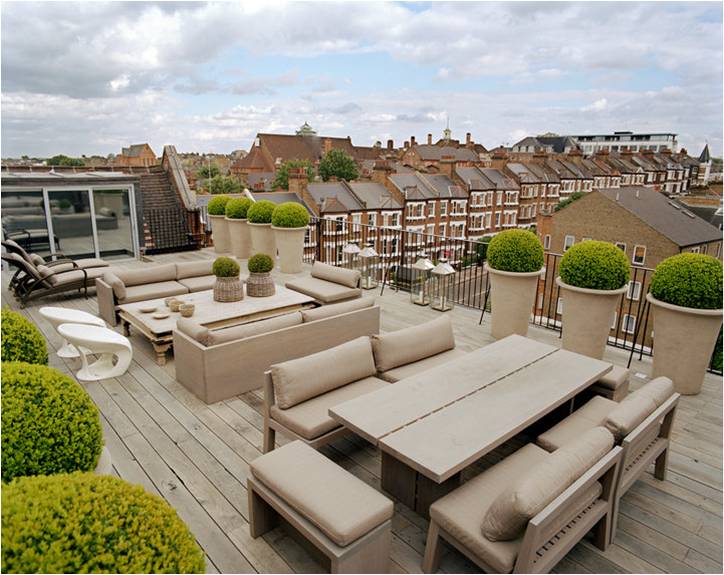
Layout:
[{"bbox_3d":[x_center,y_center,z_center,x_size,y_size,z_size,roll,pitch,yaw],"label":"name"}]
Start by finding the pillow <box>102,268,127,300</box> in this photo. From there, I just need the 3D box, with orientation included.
[{"bbox_3d":[-4.301,-0.048,8.039,0.149,0.247,0.501,-13,32,-38],"label":"pillow"}]

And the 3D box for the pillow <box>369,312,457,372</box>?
[{"bbox_3d":[0.631,0.669,5.561,1.293,0.412,0.248,-10,-3,-38],"label":"pillow"}]

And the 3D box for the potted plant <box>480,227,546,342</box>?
[{"bbox_3d":[2.391,-0.031,7.325,0.846,1.778,0.565,3,15,20],"label":"potted plant"}]

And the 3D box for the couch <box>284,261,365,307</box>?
[{"bbox_3d":[-0.741,-0.074,8.715,0.970,0.651,1.407,-12,19,-37],"label":"couch"}]

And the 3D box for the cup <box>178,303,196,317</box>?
[{"bbox_3d":[-2.628,0.327,6.937,0.205,0.142,0.209,1,13,0],"label":"cup"}]

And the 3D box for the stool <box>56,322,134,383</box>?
[{"bbox_3d":[-3.542,0.843,6.267,0.854,0.670,0.752,8,7,-36],"label":"stool"}]

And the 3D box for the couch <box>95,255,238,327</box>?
[{"bbox_3d":[-3.492,-0.048,8.828,2.545,0.834,0.796,-13,23,-43],"label":"couch"}]

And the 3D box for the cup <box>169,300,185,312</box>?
[{"bbox_3d":[-2.929,0.275,7.273,0.218,0.098,0.239,3,13,-1],"label":"cup"}]

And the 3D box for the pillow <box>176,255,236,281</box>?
[{"bbox_3d":[-3.041,-0.381,9.004,0.797,0.351,0.730,-14,23,-35],"label":"pillow"}]

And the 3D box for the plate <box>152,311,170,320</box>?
[{"bbox_3d":[-3.112,0.411,7.198,0.271,0.062,0.364,-5,13,-14],"label":"plate"}]

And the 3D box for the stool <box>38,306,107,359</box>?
[{"bbox_3d":[-4.131,0.590,6.676,0.827,0.708,0.610,-8,16,-31],"label":"stool"}]

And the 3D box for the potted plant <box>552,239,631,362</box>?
[{"bbox_3d":[3.283,0.245,6.704,0.883,1.863,0.889,-4,10,-41],"label":"potted plant"}]

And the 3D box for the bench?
[{"bbox_3d":[-0.339,1.768,3.641,1.108,0.733,0.517,9,17,41],"label":"bench"}]

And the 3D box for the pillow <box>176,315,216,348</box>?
[{"bbox_3d":[-2.108,0.555,5.808,0.129,0.221,0.779,-14,17,-41],"label":"pillow"}]

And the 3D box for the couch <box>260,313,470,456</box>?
[{"bbox_3d":[0.279,1.043,5.236,2.746,0.977,0.854,-11,15,-40],"label":"couch"}]
